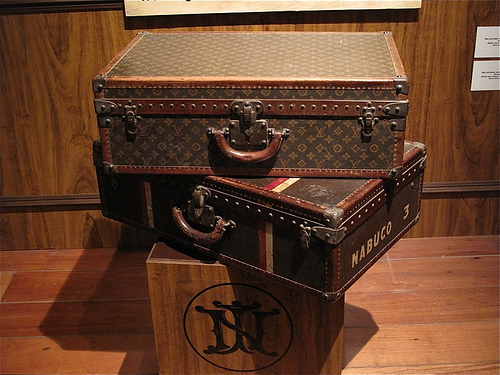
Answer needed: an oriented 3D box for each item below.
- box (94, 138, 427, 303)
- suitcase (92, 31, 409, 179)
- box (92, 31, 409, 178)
[{"bbox_3d":[0.039,0.147,2.500,1.519,0.467,0.650,2,24,12],"label":"box"},{"bbox_3d":[0.023,-0.382,2.720,1.123,0.412,0.851,2,27,4],"label":"suitcase"},{"bbox_3d":[0.073,-0.458,2.690,1.118,0.410,0.856,2,27,5],"label":"box"}]
